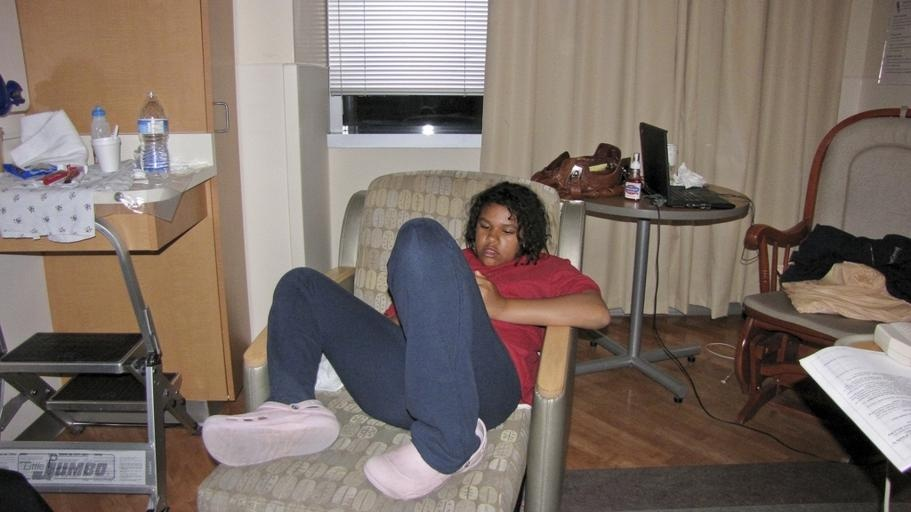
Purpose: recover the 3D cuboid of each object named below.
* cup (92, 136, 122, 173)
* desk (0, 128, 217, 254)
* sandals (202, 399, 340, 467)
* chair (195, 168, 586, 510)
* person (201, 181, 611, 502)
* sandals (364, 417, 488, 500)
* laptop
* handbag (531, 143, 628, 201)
[{"bbox_3d":[-1.737,-0.511,3.207,0.196,0.180,0.181,0,14,0],"label":"cup"},{"bbox_3d":[-1.627,-0.375,3.149,0.834,0.448,0.768,1,12,7],"label":"desk"},{"bbox_3d":[-0.740,0.715,2.755,0.642,0.228,0.253,-1,30,-12],"label":"sandals"},{"bbox_3d":[-0.186,0.261,2.875,1.559,1.377,0.926,11,-9,-35],"label":"chair"},{"bbox_3d":[-0.186,0.349,2.755,1.614,1.135,0.760,-12,20,-32],"label":"person"},{"bbox_3d":[-0.079,0.877,2.711,0.548,0.196,0.241,-15,43,-22],"label":"sandals"},{"bbox_3d":[1.370,-0.541,3.784,0.443,0.472,0.421,-3,17,-1],"label":"laptop"},{"bbox_3d":[0.782,-0.500,3.868,0.479,0.154,0.448,-10,21,-24],"label":"handbag"}]
